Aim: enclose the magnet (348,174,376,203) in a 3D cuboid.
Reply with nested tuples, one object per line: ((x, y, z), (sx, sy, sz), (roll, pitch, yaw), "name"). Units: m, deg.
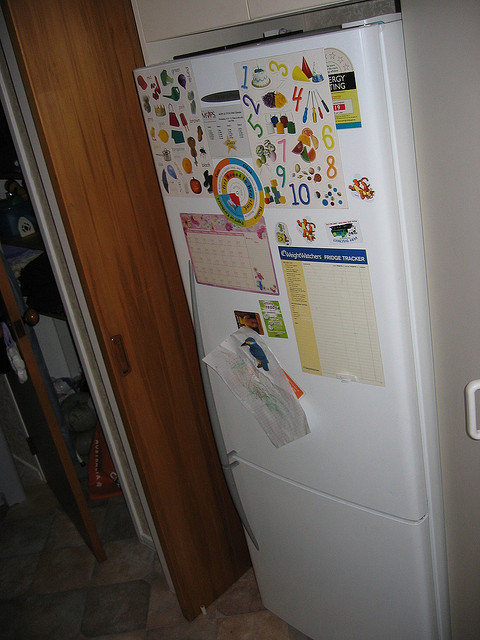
((0.199, -0.216, 0.743), (0.041, 0.038, 0.012), (44, 49, 16), "magnet")

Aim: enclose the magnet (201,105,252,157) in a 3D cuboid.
((-0.027, -0.365, 0.884), (0.016, 0.099, 0.112), (-26, 24, -34), "magnet")
